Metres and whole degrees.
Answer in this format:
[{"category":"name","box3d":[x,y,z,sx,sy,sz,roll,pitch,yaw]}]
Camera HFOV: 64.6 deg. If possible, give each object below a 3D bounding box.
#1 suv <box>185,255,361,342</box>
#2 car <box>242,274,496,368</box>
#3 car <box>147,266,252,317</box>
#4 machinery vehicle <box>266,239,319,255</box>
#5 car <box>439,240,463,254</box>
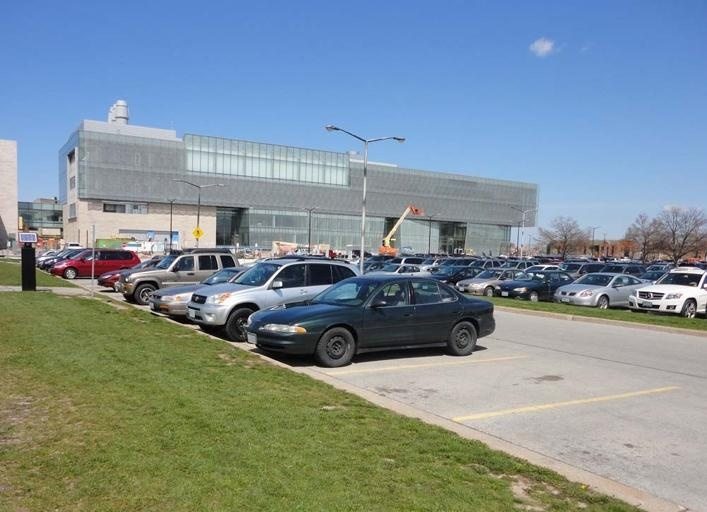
[{"category":"suv","box3d":[-2.236,0.956,14.454,4.403,1.457,1.927,0,0,-25]},{"category":"car","box3d":[0.524,1.333,12.147,4.863,1.181,1.977,2,-3,-24]},{"category":"car","box3d":[-3.981,0.954,15.934,3.272,0.835,1.325,0,0,-24]},{"category":"machinery vehicle","box3d":[-9.478,-1.398,83.294,4.474,1.529,4.551,-1,-1,42]},{"category":"car","box3d":[20.652,-2.077,116.903,3.371,2.999,5.591,3,0,35]}]
